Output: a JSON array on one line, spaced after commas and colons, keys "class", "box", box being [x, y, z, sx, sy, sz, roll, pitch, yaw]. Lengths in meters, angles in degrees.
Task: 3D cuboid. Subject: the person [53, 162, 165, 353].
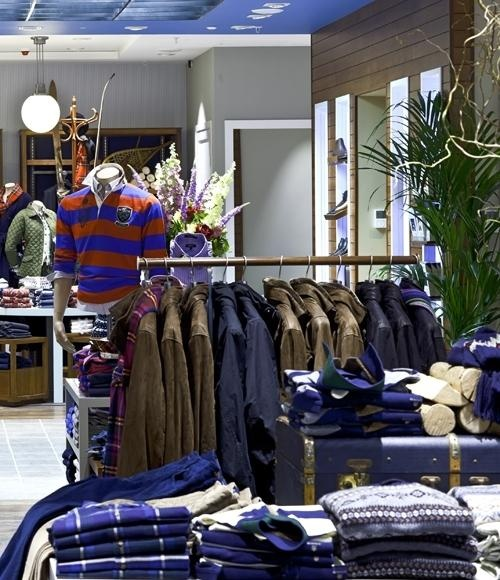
[{"class": "person", "box": [-0.703, -0.164, 3.738, 0.535, 0.789, 0.392, -2, 1, -14]}]

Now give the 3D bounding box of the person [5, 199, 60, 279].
[{"class": "person", "box": [-2.339, -0.525, 8.016, 0.501, 0.740, 0.321, -2, 1, -11]}]

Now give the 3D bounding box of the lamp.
[{"class": "lamp", "box": [-2.351, -2.281, 8.490, 0.570, 1.029, 0.571, 6, 19, 1]}]
